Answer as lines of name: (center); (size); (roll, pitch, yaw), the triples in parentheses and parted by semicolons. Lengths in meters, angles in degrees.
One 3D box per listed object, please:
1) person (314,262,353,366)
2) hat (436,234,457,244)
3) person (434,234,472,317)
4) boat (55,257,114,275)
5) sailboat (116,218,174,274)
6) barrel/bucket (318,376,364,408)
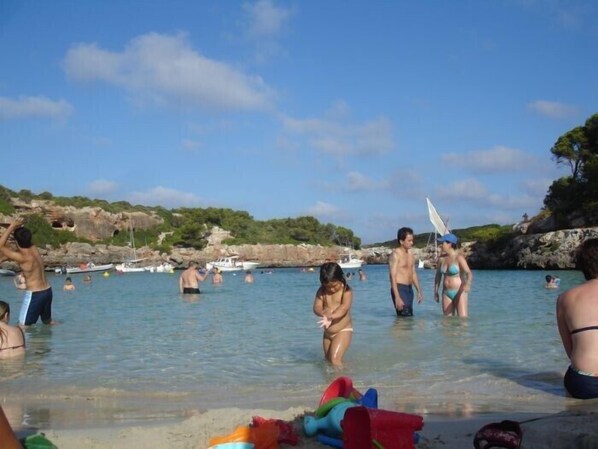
person: (0.597, 1.560, 9.691); (0.647, 1.843, 1.231); (-3, -3, 3)
hat: (3.568, 0.359, 13.551); (0.410, 0.159, 0.259); (2, -1, 1)
person: (3.700, 1.246, 13.685); (0.842, 2.086, 1.355); (-4, -3, 14)
boat: (-24.864, 4.829, 64.744); (5.465, 1.304, 1.660); (-3, 4, 10)
sailboat: (-19.422, 3.829, 70.614); (3.681, 5.355, 5.617); (-4, -9, 13)
barrel/bucket: (0.529, 2.186, 7.364); (0.479, 0.451, 0.352); (3, -11, -9)
